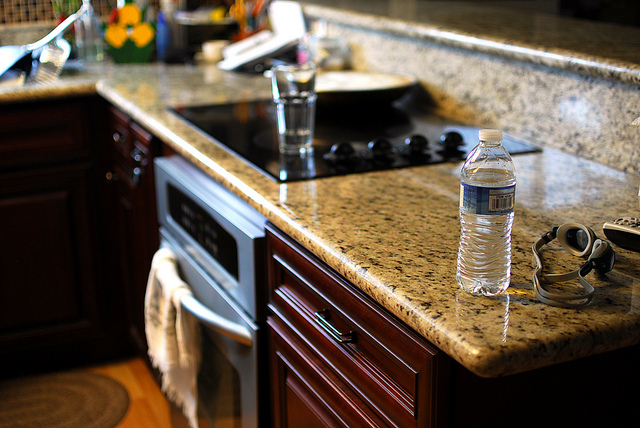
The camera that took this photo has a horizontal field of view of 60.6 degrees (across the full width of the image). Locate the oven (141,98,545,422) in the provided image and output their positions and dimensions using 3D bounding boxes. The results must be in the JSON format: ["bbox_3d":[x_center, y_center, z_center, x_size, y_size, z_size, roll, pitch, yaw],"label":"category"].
[{"bbox_3d":[-0.167,0.080,1.892,1.016,1.358,1.004,-6,34,-20],"label":"oven"}]

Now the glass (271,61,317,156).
[{"bbox_3d":[-0.067,-0.282,1.442,0.112,0.211,0.211,0,25,-1],"label":"glass"}]

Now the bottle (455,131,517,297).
[{"bbox_3d":[0.273,-0.021,0.884,0.097,0.236,0.229,9,26,17],"label":"bottle"}]

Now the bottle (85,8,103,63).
[{"bbox_3d":[-1.006,-0.785,2.406,0.068,0.226,0.113,-3,26,-6],"label":"bottle"}]
